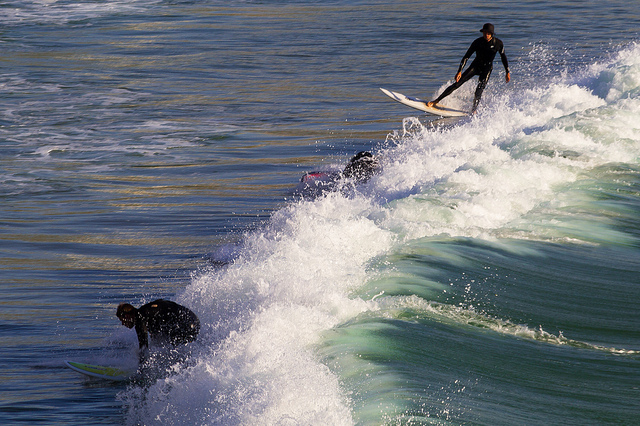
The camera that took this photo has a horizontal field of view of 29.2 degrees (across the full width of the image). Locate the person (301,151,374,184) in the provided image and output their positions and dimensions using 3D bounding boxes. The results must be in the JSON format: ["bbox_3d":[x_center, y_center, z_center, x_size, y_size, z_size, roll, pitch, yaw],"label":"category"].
[{"bbox_3d":[0.962,-1.304,35.683,2.933,0.874,0.737,1,5,4],"label":"person"}]

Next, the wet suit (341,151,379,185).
[{"bbox_3d":[1.191,-1.289,35.883,1.104,0.430,0.801,-41,90,0],"label":"wet suit"}]
